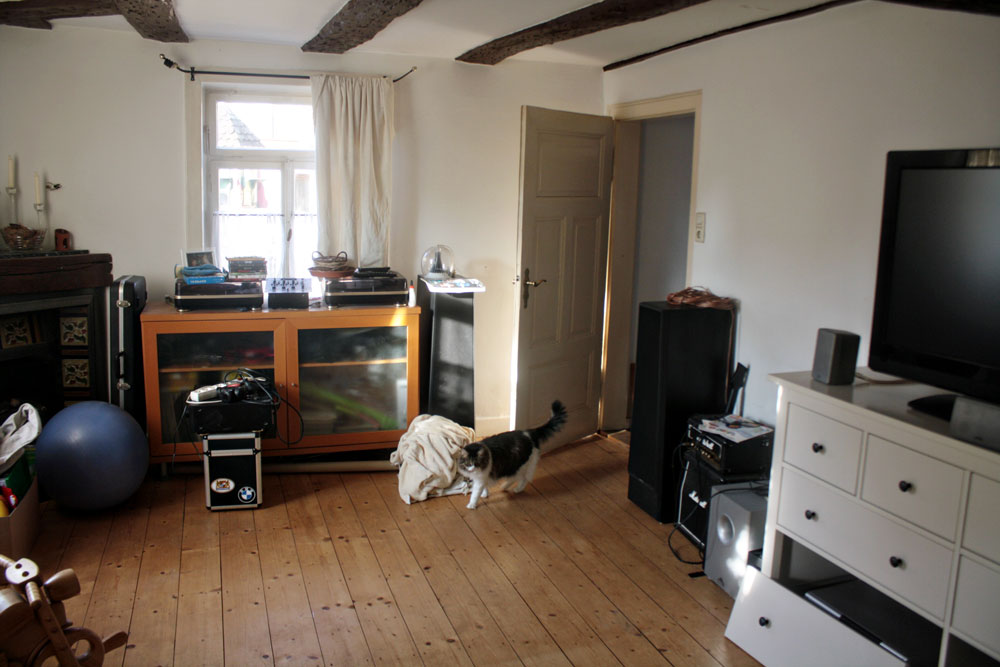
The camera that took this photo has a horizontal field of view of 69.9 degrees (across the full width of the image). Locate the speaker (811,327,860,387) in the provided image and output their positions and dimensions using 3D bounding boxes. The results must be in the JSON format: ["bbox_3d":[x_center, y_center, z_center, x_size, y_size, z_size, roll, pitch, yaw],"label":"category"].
[{"bbox_3d":[1.587,0.107,3.400,0.176,0.252,0.179,13,16,41],"label":"speaker"}]

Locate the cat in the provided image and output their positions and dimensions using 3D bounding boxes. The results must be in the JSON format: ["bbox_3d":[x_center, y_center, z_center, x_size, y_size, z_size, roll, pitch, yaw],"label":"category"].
[{"bbox_3d":[0.030,0.829,4.898,0.279,0.607,0.943,31,27,36],"label":"cat"}]

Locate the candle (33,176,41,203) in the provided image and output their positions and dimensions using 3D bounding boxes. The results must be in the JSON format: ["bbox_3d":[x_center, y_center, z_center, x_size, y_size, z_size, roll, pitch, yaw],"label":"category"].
[{"bbox_3d":[-3.119,-0.979,4.840,0.053,0.183,0.046,-6,13,-31],"label":"candle"}]

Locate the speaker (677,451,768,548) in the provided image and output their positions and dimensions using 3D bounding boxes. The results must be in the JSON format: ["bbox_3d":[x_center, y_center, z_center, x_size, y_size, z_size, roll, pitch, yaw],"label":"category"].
[{"bbox_3d":[1.289,0.950,4.098,0.405,0.592,0.434,6,18,-7],"label":"speaker"}]

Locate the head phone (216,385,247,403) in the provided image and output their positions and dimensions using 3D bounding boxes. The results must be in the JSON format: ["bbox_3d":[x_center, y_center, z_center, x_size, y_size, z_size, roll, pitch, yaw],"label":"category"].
[{"bbox_3d":[-1.727,0.384,4.616,0.162,0.079,0.138,-3,12,-21],"label":"head phone"}]

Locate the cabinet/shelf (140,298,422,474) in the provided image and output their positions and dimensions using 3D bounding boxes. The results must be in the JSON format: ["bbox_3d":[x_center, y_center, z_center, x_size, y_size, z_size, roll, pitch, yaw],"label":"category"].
[{"bbox_3d":[-1.511,0.479,5.231,1.935,1.192,0.579,-2,-13,-14],"label":"cabinet/shelf"}]

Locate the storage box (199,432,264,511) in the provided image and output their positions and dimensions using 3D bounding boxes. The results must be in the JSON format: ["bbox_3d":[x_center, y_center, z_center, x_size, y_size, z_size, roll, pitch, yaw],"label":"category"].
[{"bbox_3d":[-1.756,0.868,4.819,0.455,0.637,0.457,0,1,-20],"label":"storage box"}]

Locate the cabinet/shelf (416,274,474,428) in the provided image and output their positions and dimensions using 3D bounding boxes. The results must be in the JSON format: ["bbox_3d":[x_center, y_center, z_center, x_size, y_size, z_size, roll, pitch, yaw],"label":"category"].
[{"bbox_3d":[-0.431,0.144,5.277,0.481,1.072,0.320,4,12,14],"label":"cabinet/shelf"}]
